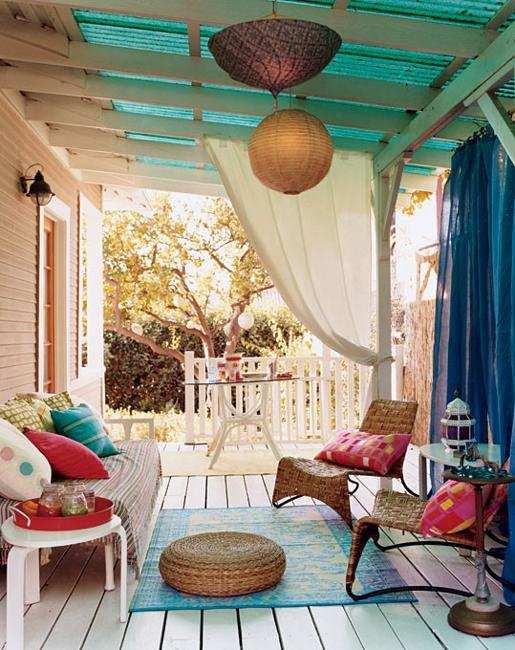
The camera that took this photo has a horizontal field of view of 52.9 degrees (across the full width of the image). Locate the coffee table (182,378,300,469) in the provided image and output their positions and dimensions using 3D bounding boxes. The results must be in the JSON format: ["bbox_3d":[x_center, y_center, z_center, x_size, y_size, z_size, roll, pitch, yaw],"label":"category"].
[{"bbox_3d":[-0.184,0.918,5.551,1.382,0.899,1.034,0,-4,-1],"label":"coffee table"}]

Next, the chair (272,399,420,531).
[{"bbox_3d":[0.632,0.917,3.519,0.957,0.776,0.709,2,-4,-40],"label":"chair"}]
